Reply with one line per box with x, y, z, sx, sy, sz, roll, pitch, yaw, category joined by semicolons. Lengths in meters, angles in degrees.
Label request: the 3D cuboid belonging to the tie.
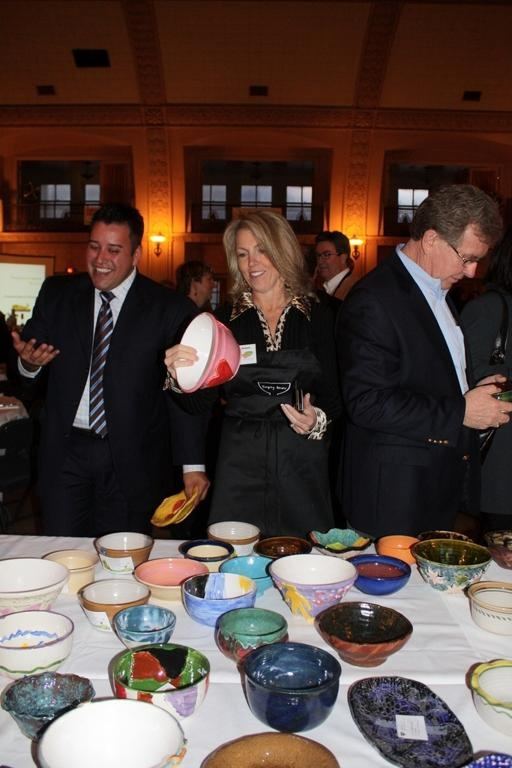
-0.547;-0.072;2.027;0.084;0.498;0.200;-1;9;-9;tie

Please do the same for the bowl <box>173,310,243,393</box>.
-0.111;-0.077;1.406;0.109;0.187;0.160;7;10;38;bowl

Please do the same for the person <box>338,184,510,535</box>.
0.497;-0.067;1.768;0.489;1.069;0.477;2;8;7;person

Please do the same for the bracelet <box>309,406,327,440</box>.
0.205;0.129;1.838;0.045;0.090;0.082;9;-1;43;bracelet

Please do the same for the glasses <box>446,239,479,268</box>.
0.607;-0.388;1.717;0.078;0.025;0.079;-1;43;-50;glasses

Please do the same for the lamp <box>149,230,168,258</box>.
-2.270;-3.203;13.219;0.495;0.665;0.495;15;22;32;lamp
